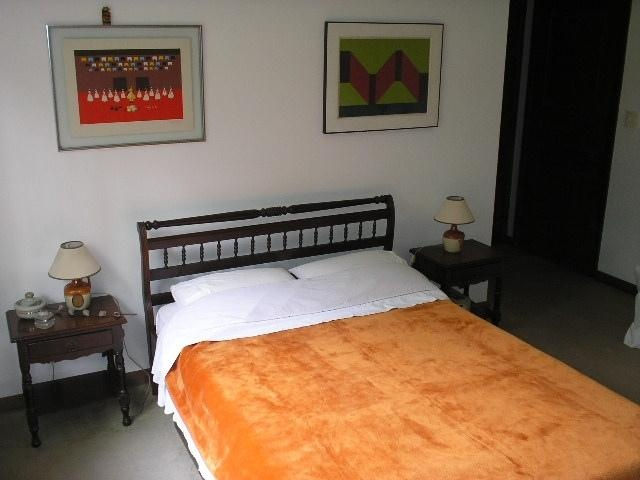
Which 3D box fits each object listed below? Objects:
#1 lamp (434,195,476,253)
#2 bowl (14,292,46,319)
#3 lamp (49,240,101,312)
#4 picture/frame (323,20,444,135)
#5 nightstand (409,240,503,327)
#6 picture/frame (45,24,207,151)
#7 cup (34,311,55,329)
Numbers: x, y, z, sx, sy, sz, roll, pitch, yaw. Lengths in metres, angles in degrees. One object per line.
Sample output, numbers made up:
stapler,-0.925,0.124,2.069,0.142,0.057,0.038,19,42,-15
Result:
lamp,1.136,-0.126,4.047,0.328,0.459,0.346,-6,14,-16
bowl,-1.890,0.416,3.107,0.148,0.131,0.182,-7,14,-32
lamp,-1.632,0.255,3.173,0.303,0.454,0.309,-9,18,-32
picture/frame,0.470,-1.330,3.837,0.910,0.768,0.033,-4,17,-19
nightstand,1.058,0.328,3.785,0.563,0.582,0.437,-11,22,-28
picture/frame,-1.344,-1.042,3.191,0.811,0.679,0.034,-7,16,-23
cup,-1.744,0.501,3.013,0.116,0.083,0.134,-13,21,-31
